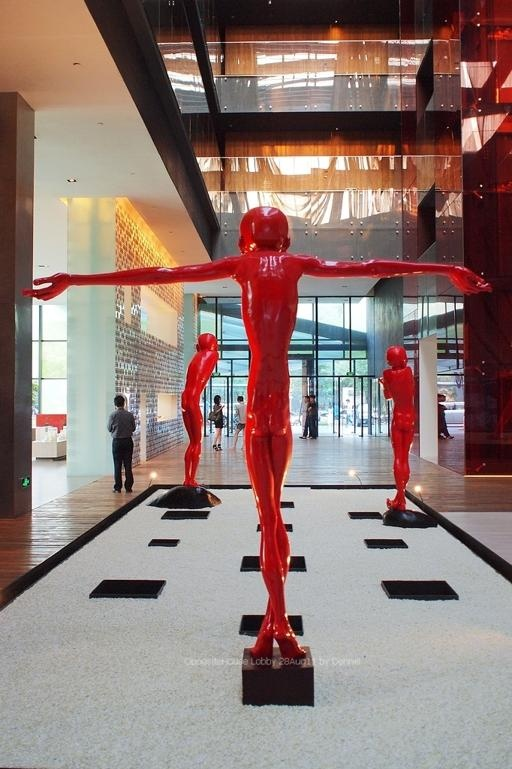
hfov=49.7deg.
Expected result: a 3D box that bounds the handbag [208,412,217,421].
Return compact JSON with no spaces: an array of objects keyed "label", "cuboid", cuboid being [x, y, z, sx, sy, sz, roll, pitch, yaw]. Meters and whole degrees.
[{"label":"handbag","cuboid":[-0.987,0.730,12.355,0.162,0.176,0.045,15,-1,27]}]

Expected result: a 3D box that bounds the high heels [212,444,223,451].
[{"label":"high heels","cuboid":[-0.864,1.420,12.331,0.088,0.195,0.261,4,5,21]}]
